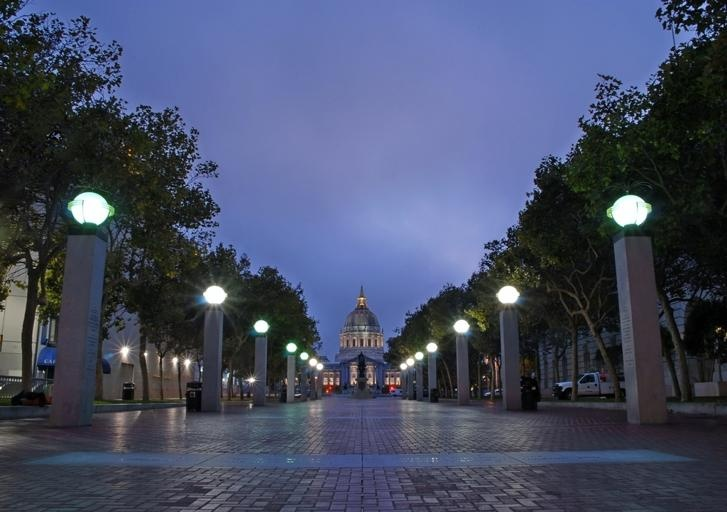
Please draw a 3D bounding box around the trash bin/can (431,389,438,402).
[{"bbox_3d":[6.150,12.124,48.906,0.843,1.126,0.384,14,-21,-40],"label":"trash bin/can"}]

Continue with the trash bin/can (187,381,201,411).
[{"bbox_3d":[-8.116,6.784,26.928,0.736,1.560,0.916,2,-17,-6],"label":"trash bin/can"}]

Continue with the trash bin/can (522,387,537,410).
[{"bbox_3d":[8.908,7.803,30.271,0.716,1.061,1.213,-5,-18,15],"label":"trash bin/can"}]
